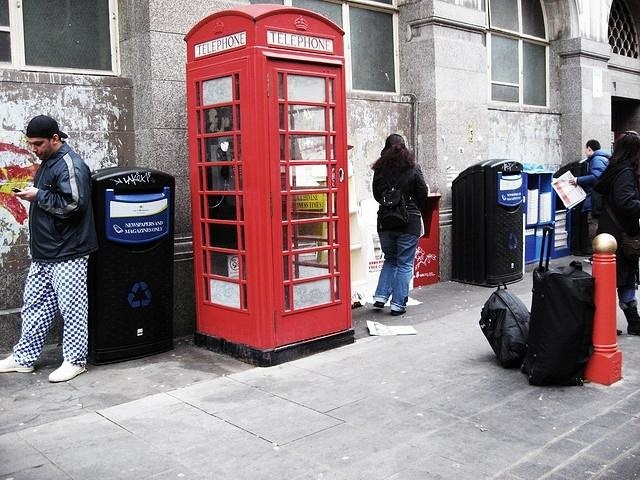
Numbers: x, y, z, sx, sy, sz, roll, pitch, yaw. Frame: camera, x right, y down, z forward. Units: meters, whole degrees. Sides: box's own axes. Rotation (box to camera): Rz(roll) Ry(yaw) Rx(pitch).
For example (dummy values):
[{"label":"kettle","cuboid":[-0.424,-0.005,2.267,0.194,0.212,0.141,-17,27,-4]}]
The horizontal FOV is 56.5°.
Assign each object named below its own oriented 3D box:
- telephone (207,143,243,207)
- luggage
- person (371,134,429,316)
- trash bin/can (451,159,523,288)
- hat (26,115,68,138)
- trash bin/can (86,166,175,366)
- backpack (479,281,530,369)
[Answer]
[{"label":"telephone","cuboid":[-0.999,-0.708,6.205,0.286,0.697,0.300,3,14,8]},{"label":"luggage","cuboid":[2.156,0.770,5.405,0.592,1.109,0.356,3,9,19]},{"label":"person","cuboid":[1.025,-0.183,7.744,0.699,2.313,0.480,0,9,4]},{"label":"trash bin/can","cuboid":[2.568,-0.242,9.519,0.954,2.095,0.993,-4,5,-42]},{"label":"hat","cuboid":[-2.555,-1.062,5.594,0.202,0.165,0.293,22,22,39]},{"label":"trash bin/can","cuboid":[-2.038,0.256,6.361,0.864,1.951,0.800,-7,19,-33]},{"label":"backpack","cuboid":[1.805,0.834,5.954,0.483,0.689,0.543,8,13,20]}]
